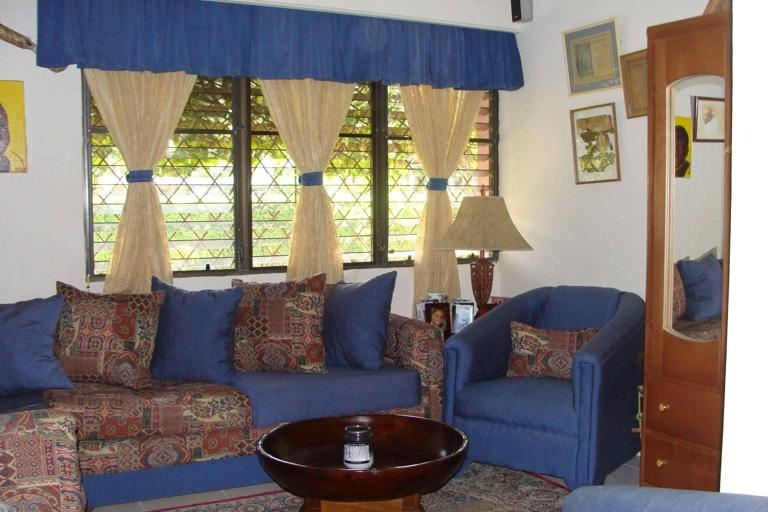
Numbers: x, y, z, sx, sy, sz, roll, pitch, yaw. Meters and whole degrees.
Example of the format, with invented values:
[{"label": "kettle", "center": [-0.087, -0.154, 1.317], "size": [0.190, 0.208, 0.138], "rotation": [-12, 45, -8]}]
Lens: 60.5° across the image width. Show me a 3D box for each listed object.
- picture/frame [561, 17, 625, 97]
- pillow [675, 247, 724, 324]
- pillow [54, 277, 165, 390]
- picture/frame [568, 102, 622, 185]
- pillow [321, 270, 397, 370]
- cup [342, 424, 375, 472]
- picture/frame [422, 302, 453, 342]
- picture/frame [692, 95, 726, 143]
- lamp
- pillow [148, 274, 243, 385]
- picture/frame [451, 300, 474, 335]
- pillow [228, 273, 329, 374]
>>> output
[{"label": "picture/frame", "center": [1.663, -1.577, 5.200], "size": [0.048, 0.731, 0.708], "rotation": [-8, 7, -32]}, {"label": "pillow", "center": [1.691, 0.175, 3.512], "size": [0.415, 0.365, 0.154], "rotation": [2, -10, -40]}, {"label": "pillow", "center": [-1.621, 0.491, 3.899], "size": [0.592, 0.498, 0.244], "rotation": [3, -43, 0]}, {"label": "picture/frame", "center": [1.675, -0.885, 5.248], "size": [0.096, 0.606, 0.457], "rotation": [-4, 5, -25]}, {"label": "pillow", "center": [-0.206, 0.426, 4.373], "size": [0.322, 0.605, 0.681], "rotation": [0, -7, -41]}, {"label": "cup", "center": [-0.112, 0.918, 3.126], "size": [0.153, 0.172, 0.152], "rotation": [-2, -5, 0]}, {"label": "picture/frame", "center": [0.357, 0.459, 4.531], "size": [0.234, 0.334, 0.032], "rotation": [-1, -2, -6]}, {"label": "picture/frame", "center": [1.660, -0.695, 3.377], "size": [0.181, 0.221, 0.023], "rotation": [-3, 5, -14]}, {"label": "lamp", "center": [0.726, 0.013, 4.869], "size": [0.720, 0.900, 0.699], "rotation": [0, 6, 9]}, {"label": "pillow", "center": [-1.150, 0.479, 4.016], "size": [0.577, 0.641, 0.243], "rotation": [2, -14, 0]}, {"label": "picture/frame", "center": [0.555, 0.447, 4.686], "size": [0.225, 0.304, 0.035], "rotation": [0, -12, 7]}, {"label": "pillow", "center": [-0.655, 0.453, 4.109], "size": [0.549, 0.543, 0.201], "rotation": [1, -20, -2]}]
